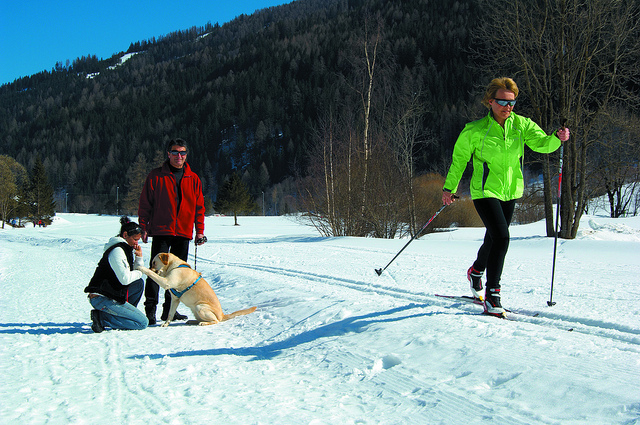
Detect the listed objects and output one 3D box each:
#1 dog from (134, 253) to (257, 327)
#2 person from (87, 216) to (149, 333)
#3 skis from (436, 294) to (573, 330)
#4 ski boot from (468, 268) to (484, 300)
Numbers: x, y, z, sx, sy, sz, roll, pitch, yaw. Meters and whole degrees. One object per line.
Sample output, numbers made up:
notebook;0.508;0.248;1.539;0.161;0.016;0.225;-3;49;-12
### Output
dog;-2.394;1.428;10.427;2.148;1.548;0.828;1;5;-18
person;-3.756;1.146;9.964;1.019;2.017;0.396;-1;4;-21
skis;3.321;1.807;9.823;2.106;0.253;0.151;13;5;40
ski boot;2.977;1.312;10.323;0.219;0.702;0.286;-13;11;-5
